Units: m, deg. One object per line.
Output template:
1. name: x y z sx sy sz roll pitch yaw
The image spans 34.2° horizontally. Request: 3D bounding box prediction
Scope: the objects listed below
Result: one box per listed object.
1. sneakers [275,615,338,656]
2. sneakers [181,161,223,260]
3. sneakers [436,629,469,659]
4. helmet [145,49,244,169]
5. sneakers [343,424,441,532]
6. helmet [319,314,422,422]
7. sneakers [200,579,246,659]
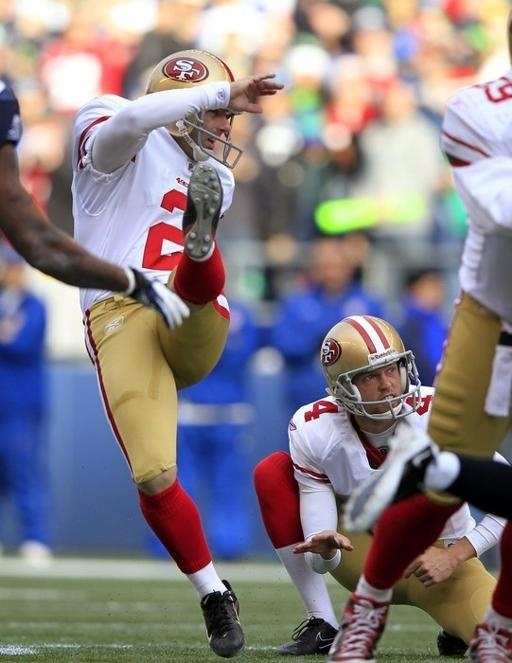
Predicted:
1. sneakers: 0.147 0.814 2.224 0.223 0.084 0.074 10 -25 -44
2. sneakers: -0.131 -0.296 2.070 0.093 0.230 0.098 8 -6 -5
3. sneakers: 0.521 0.839 2.224 0.046 0.044 0.114 6 -9 -14
4. helmet: -0.177 -0.667 2.462 0.351 0.314 0.241 14 15 2
5. sneakers: 0.225 0.270 1.422 0.107 0.173 0.194 11 30 41
6. helmet: 0.326 0.083 2.390 0.266 0.236 0.337 -14 21 -22
7. sneakers: -0.074 0.695 2.029 0.072 0.082 0.200 -21 18 -1
